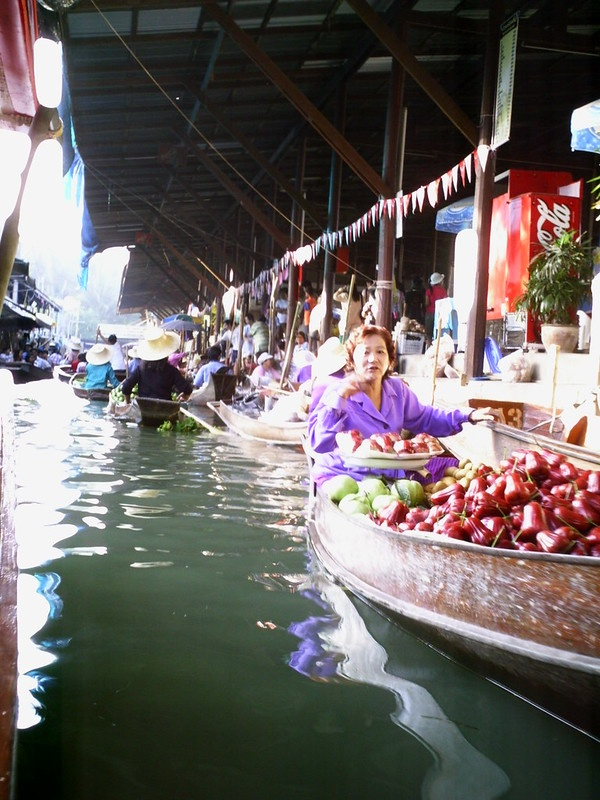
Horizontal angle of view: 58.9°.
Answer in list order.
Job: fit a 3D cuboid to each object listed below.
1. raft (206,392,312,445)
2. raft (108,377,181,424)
[{"bbox_3d":[-0.777,0.312,9.097,0.588,0.371,2.479,-10,12,-24],"label":"raft"},{"bbox_3d":[-2.808,0.147,9.420,0.640,0.602,2.104,2,2,-38],"label":"raft"}]
